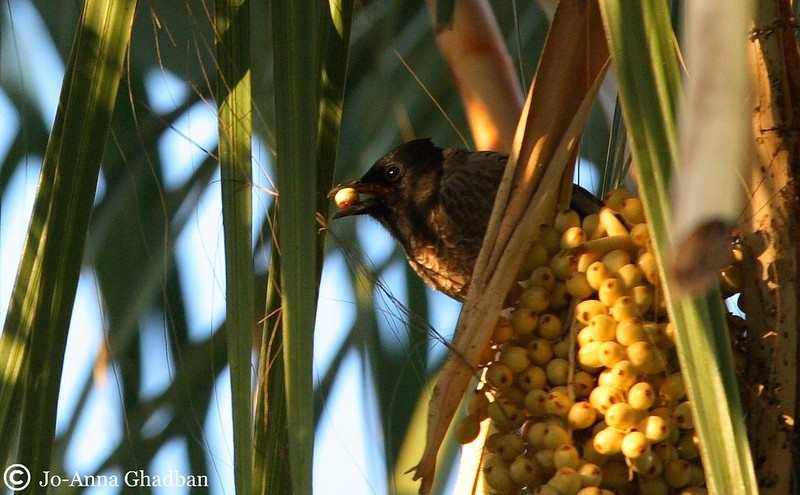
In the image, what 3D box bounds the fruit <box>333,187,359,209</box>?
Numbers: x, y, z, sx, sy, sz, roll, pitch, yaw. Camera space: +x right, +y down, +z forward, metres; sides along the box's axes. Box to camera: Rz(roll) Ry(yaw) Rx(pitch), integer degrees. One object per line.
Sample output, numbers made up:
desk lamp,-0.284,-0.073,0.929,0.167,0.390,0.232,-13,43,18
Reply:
fruit,-0.135,-0.131,3.124,0.046,0.056,0.051,0,5,7
